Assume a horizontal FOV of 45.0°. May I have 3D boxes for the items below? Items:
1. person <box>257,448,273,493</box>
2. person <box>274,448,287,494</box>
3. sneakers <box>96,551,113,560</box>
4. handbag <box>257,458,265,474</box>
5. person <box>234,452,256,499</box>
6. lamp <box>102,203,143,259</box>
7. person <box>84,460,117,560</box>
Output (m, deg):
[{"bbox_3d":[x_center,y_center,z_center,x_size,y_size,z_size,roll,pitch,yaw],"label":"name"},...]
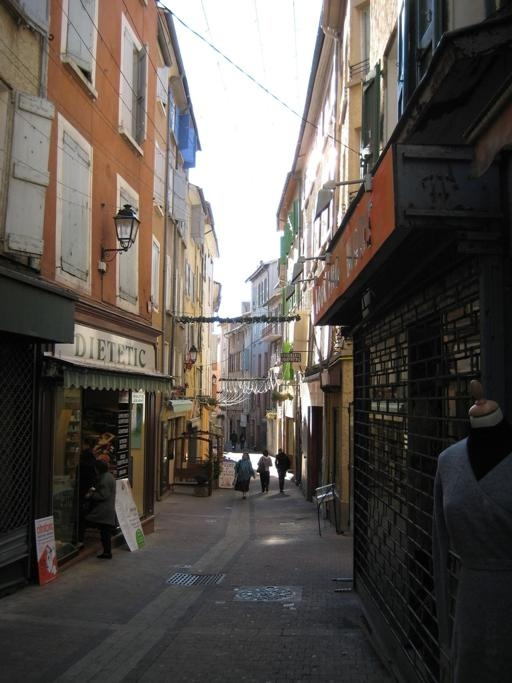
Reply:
[{"bbox_3d":[0.353,4.745,23.138,0.363,1.886,0.446,-1,28,5],"label":"person"},{"bbox_3d":[1.028,4.955,24.089,0.370,2.023,0.482,-1,22,-1],"label":"person"},{"bbox_3d":[-2.306,3.271,9.449,0.243,0.195,0.103,-1,0,5],"label":"sneakers"},{"bbox_3d":[0.195,4.650,23.101,0.324,0.602,0.701,0,-8,0],"label":"handbag"},{"bbox_3d":[-0.418,4.344,19.949,0.529,1.424,0.934,0,-6,2],"label":"person"},{"bbox_3d":[-2.216,-1.763,10.175,0.376,1.095,0.317,-5,-27,7],"label":"lamp"},{"bbox_3d":[-2.401,2.598,9.527,0.427,1.467,0.519,2,-6,-21],"label":"person"}]
